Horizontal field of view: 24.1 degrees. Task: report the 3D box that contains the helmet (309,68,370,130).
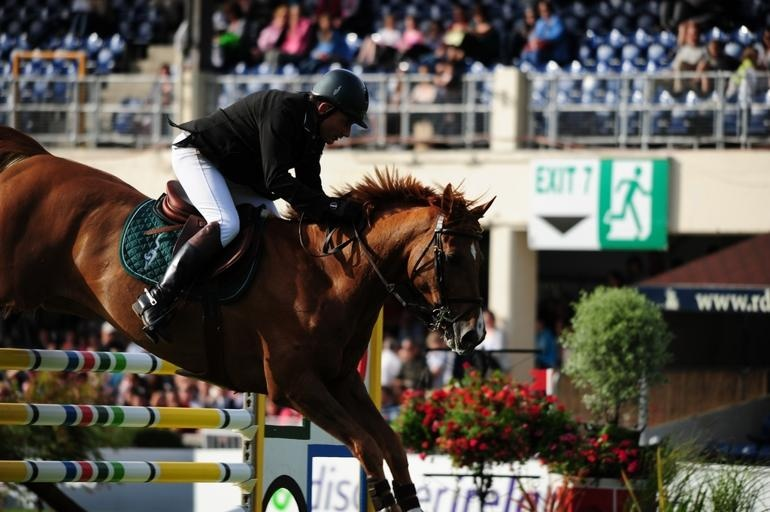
[{"bbox_3d":[-0.351,-1.513,16.717,0.572,0.447,0.425,42,14,4],"label":"helmet"}]
